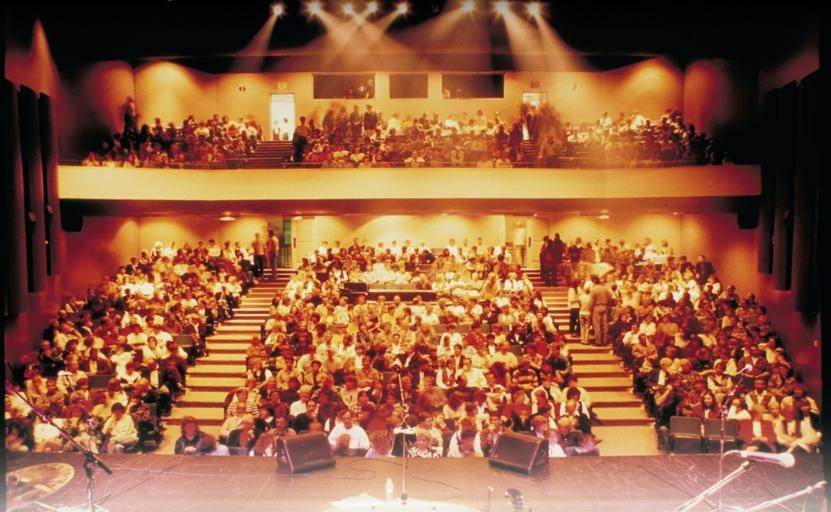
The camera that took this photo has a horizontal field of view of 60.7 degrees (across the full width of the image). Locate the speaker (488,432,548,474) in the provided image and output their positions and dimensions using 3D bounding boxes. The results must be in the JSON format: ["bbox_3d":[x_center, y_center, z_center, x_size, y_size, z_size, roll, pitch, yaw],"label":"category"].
[{"bbox_3d":[1.909,3.584,13.007,0.761,0.505,0.794,4,5,32],"label":"speaker"}]

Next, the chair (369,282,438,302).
[{"bbox_3d":[-0.389,1.106,22.064,1.718,0.563,0.620,1,-3,-3],"label":"chair"}]
